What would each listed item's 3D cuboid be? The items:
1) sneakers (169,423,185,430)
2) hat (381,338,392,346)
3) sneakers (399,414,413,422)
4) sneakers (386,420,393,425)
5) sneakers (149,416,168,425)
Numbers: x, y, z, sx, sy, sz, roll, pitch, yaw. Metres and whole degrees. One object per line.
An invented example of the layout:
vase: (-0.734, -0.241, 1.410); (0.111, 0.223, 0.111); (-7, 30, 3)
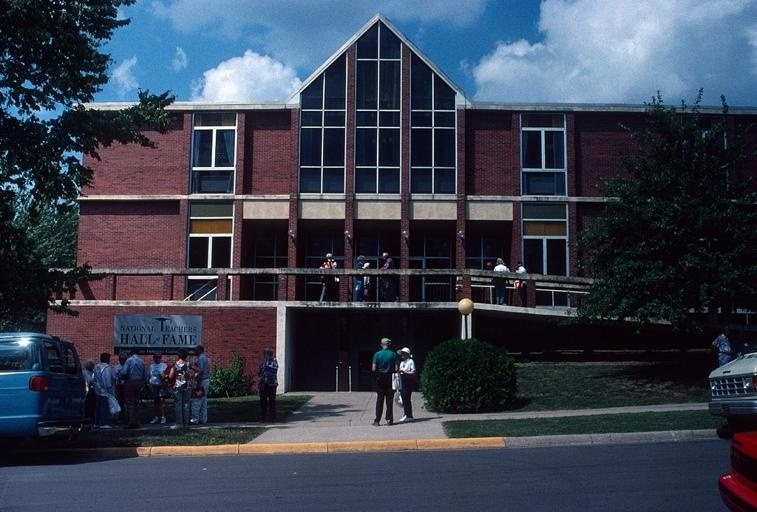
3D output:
sneakers: (-6.143, 5.243, 34.060); (0.505, 0.210, 0.188); (3, -7, 8)
hat: (0.242, 2.728, 35.020); (0.253, 0.143, 0.361); (0, -2, 3)
sneakers: (0.871, 5.153, 34.999); (0.358, 0.152, 0.205); (3, -6, -5)
sneakers: (0.353, 5.179, 34.415); (0.145, 0.107, 0.146); (0, -13, 2)
sneakers: (-6.964, 5.290, 35.490); (0.485, 0.199, 0.265); (4, -5, -5)
